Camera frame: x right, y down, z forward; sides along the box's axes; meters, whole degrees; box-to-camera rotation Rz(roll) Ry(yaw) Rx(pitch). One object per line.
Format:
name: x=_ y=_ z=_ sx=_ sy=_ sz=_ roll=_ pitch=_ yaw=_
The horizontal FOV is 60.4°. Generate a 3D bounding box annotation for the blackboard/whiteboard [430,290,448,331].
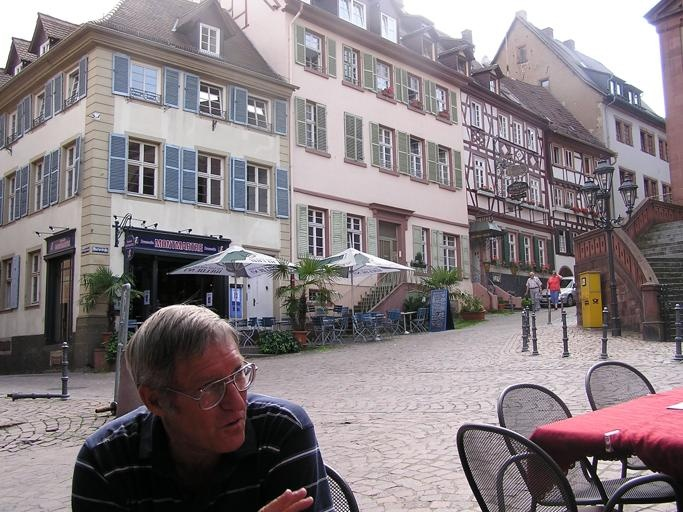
blackboard/whiteboard: x=3.886 y=2.158 z=23.188 sx=0.765 sy=1.712 sz=0.545 roll=-2 pitch=2 yaw=39

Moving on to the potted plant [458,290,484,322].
potted plant: x=6.035 y=2.479 z=27.585 sx=1.550 sy=1.606 sz=1.278 roll=1 pitch=-12 yaw=-9
